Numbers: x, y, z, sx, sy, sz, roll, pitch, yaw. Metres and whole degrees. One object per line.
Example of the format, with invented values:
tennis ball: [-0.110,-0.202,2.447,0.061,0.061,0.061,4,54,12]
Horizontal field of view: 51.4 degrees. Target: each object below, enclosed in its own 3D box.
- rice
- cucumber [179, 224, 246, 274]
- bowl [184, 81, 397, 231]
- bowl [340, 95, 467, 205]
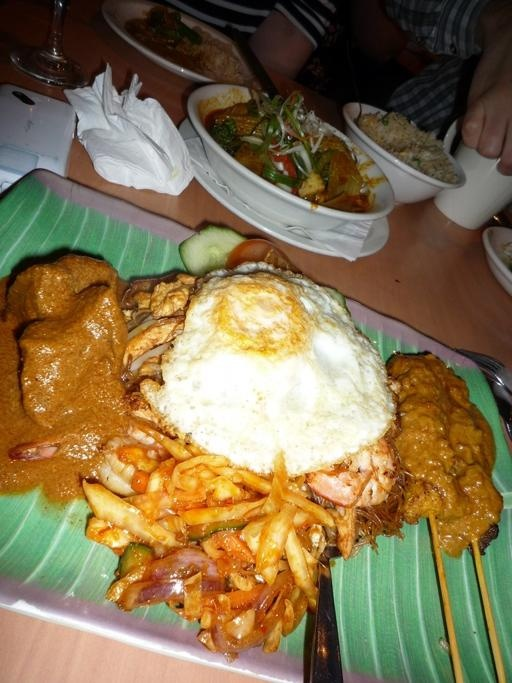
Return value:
rice: [0.884,-1.095,3.128,0.592,0.200,0.559,9,58,-9]
cucumber: [-0.178,-0.371,2.122,0.230,0.056,0.214,-3,61,-14]
bowl: [0.136,-0.765,2.556,0.838,0.229,0.859,17,47,-19]
bowl: [0.842,-0.972,3.049,0.683,0.294,0.728,25,38,-21]
